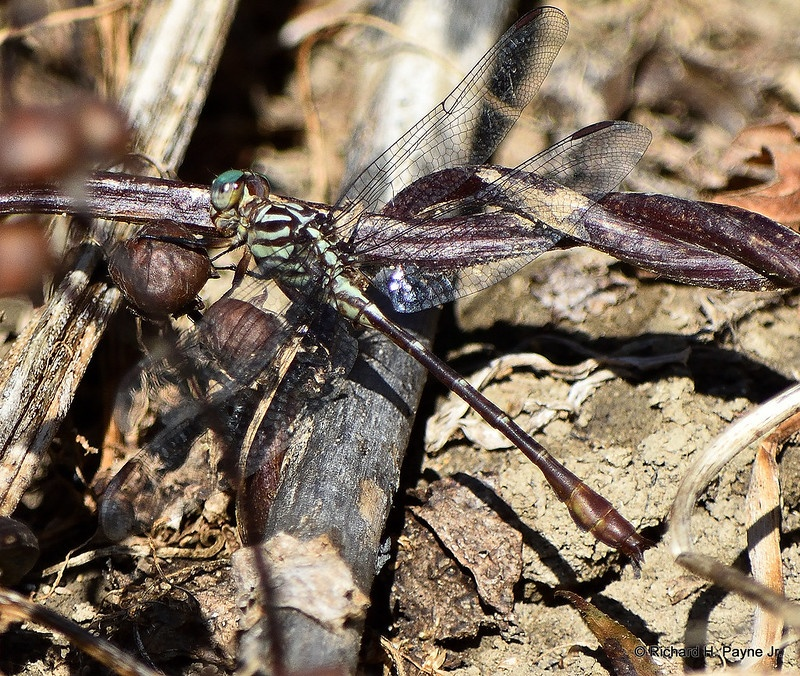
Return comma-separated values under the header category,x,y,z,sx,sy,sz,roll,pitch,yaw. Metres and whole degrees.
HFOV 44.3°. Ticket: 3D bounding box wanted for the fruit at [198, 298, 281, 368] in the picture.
category,x,y,z,sx,sy,sz,roll,pitch,yaw
fruit,-0.511,-0.011,3.130,0.259,0.207,0.127,3,-1,-16
